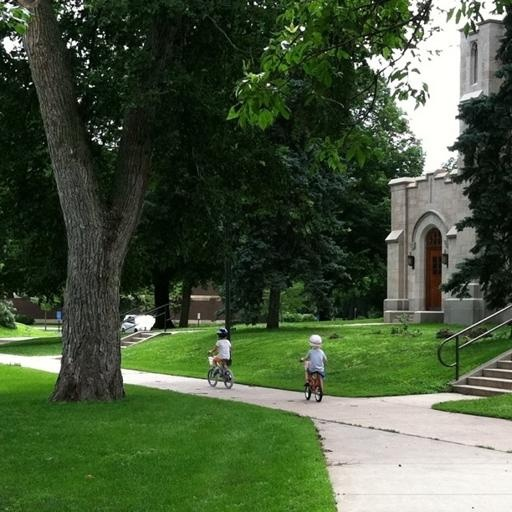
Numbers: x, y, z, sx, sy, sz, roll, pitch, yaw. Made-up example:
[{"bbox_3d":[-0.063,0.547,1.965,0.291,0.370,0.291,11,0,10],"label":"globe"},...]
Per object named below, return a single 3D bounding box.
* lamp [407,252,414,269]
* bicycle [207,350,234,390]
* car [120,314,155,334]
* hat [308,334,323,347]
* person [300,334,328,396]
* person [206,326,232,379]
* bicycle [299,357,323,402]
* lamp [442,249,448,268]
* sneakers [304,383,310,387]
[{"bbox_3d":[6.462,0.280,38.361,0.184,0.686,0.637,2,-7,-13],"label":"lamp"},{"bbox_3d":[-0.768,2.971,23.104,0.456,0.568,0.906,3,-2,-31],"label":"bicycle"},{"bbox_3d":[-6.592,3.798,51.378,1.687,1.169,4.937,2,-8,-8],"label":"car"},{"bbox_3d":[1.288,1.834,19.788,0.297,0.257,0.316,1,-6,-13],"label":"hat"},{"bbox_3d":[1.270,2.430,19.896,0.483,1.378,0.813,0,-7,3],"label":"person"},{"bbox_3d":[-0.831,2.394,23.649,0.693,0.875,1.412,2,0,-4],"label":"person"},{"bbox_3d":[1.271,2.845,20.248,0.387,0.513,0.857,2,-4,-9],"label":"bicycle"},{"bbox_3d":[7.359,0.137,35.736,0.184,0.673,0.471,1,-7,-3],"label":"lamp"},{"bbox_3d":[1.113,2.813,20.089,0.122,0.111,0.079,-12,-9,34],"label":"sneakers"}]
